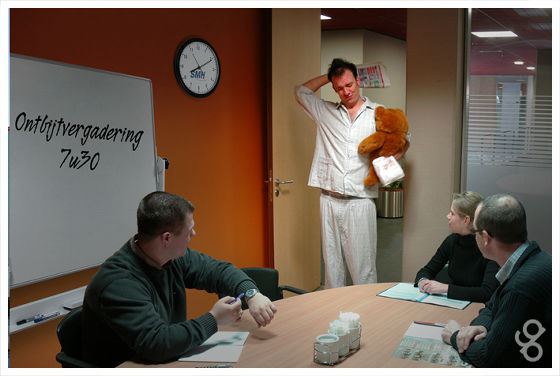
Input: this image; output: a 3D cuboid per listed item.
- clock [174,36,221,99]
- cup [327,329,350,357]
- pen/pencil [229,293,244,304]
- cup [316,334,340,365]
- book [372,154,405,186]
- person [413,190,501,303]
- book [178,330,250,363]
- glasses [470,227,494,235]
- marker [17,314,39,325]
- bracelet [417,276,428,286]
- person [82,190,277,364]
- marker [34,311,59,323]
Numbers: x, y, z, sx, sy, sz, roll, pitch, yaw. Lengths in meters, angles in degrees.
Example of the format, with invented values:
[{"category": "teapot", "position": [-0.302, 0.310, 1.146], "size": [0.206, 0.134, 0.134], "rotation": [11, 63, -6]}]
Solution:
[{"category": "clock", "position": [-0.801, -1.148, 3.614], "size": [0.071, 0.653, 0.669], "rotation": [5, 8, 39]}, {"category": "cup", "position": [0.308, 0.808, 1.994], "size": [0.084, 0.114, 0.134], "rotation": [0, -1, 14]}, {"category": "pen/pencil", "position": [-0.242, 0.654, 2.266], "size": [0.023, 0.023, 0.166], "rotation": [6, 16, 28]}, {"category": "cup", "position": [0.240, 0.825, 1.954], "size": [0.103, 0.099, 0.138], "rotation": [0, -1, 4]}, {"category": "book", "position": [1.039, -0.171, 3.641], "size": [0.316, 0.269, 0.183], "rotation": [-3, 13, 2]}, {"category": "person", "position": [1.321, 0.361, 2.883], "size": [0.651, 0.776, 0.698], "rotation": [-1, 2, -16]}, {"category": "book", "position": [-0.350, 0.870, 2.099], "size": [0.323, 0.020, 0.278], "rotation": [-1, 12, 11]}, {"category": "glasses", "position": [1.062, 0.227, 2.006], "size": [0.068, 0.019, 0.066], "rotation": [8, 8, 43]}, {"category": "marker", "position": [-1.685, 0.891, 2.601], "size": [0.158, 0.047, 0.040], "rotation": [-8, 12, -37]}, {"category": "bracelet", "position": [1.007, 0.661, 2.713], "size": [0.061, 0.022, 0.044], "rotation": [-42, 30, -22]}, {"category": "person", "position": [-0.601, 0.415, 2.700], "size": [1.140, 1.547, 0.848], "rotation": [-2, 14, -12]}, {"category": "marker", "position": [-1.612, 0.898, 2.650], "size": [0.038, 0.042, 0.143], "rotation": [10, 11, 37]}]
